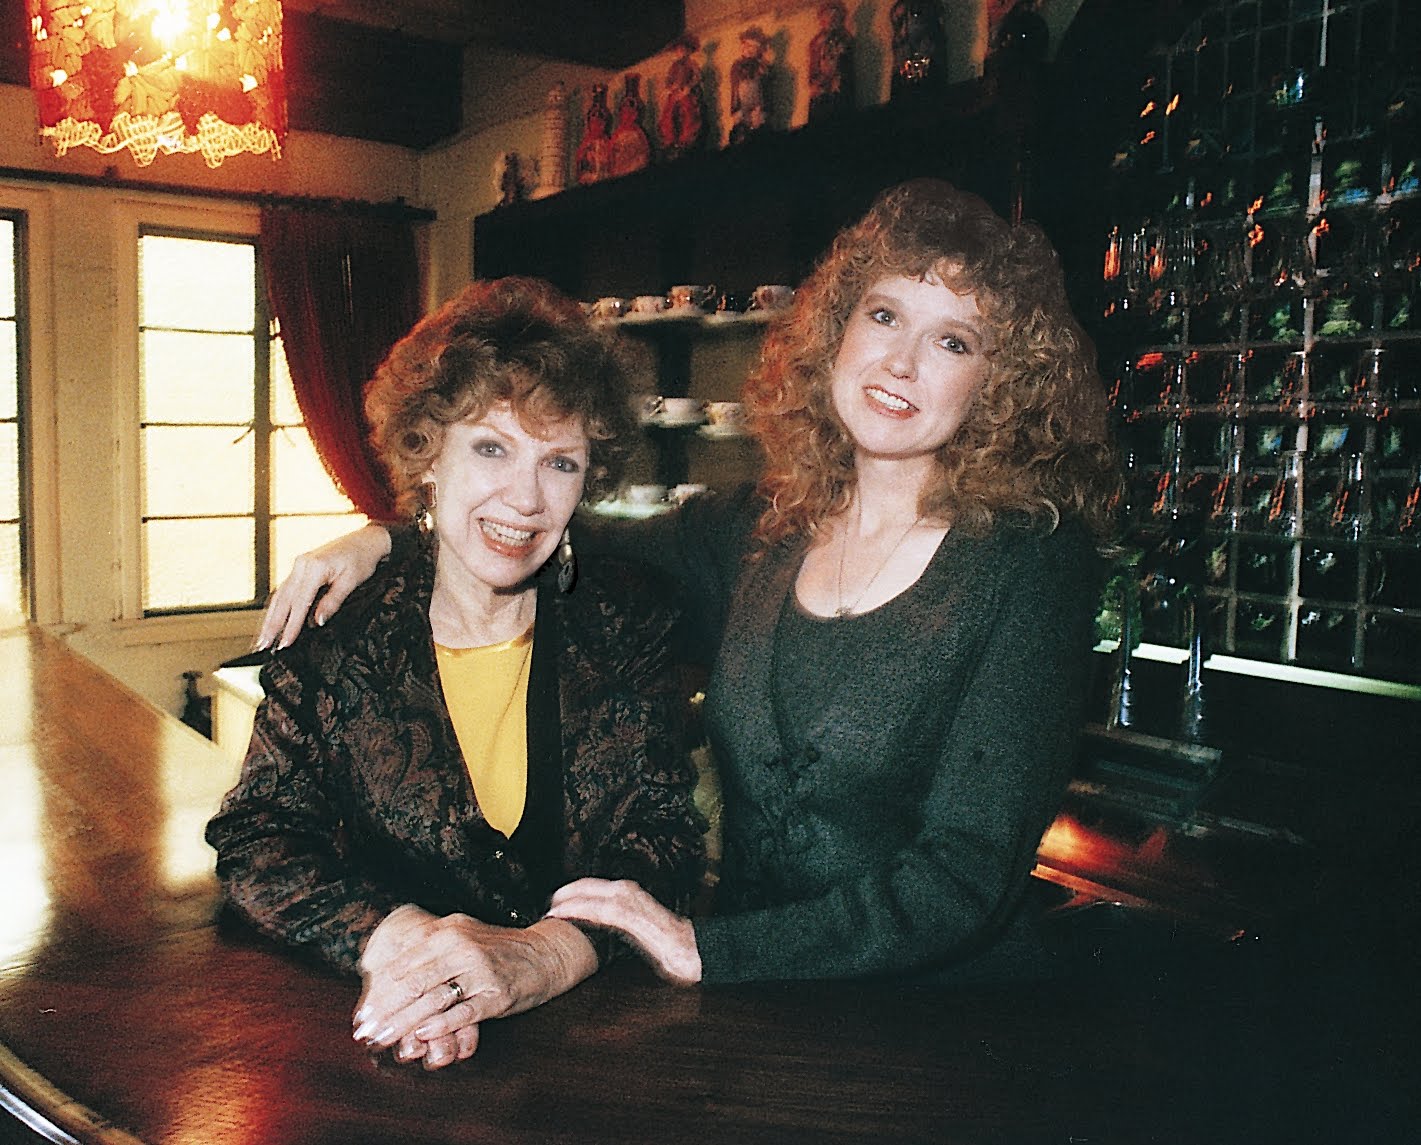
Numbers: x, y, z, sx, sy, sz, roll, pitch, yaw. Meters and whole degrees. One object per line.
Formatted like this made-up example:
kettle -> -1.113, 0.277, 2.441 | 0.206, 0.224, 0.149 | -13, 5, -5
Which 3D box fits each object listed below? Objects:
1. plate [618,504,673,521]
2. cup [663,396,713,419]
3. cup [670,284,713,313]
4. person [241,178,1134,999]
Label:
plate -> -0.124, -0.115, 2.500 | 0.112, 0.025, 0.116 | -1, 1, -44
cup -> -0.066, -0.464, 3.736 | 0.084, 0.033, 0.080 | -1, 1, 0
cup -> -0.042, -0.804, 3.817 | 0.103, 0.056, 0.099 | 1, 15, 0
person -> 0.228, -0.023, 1.944 | 0.795, 1.100, 0.709 | -2, 11, -7
